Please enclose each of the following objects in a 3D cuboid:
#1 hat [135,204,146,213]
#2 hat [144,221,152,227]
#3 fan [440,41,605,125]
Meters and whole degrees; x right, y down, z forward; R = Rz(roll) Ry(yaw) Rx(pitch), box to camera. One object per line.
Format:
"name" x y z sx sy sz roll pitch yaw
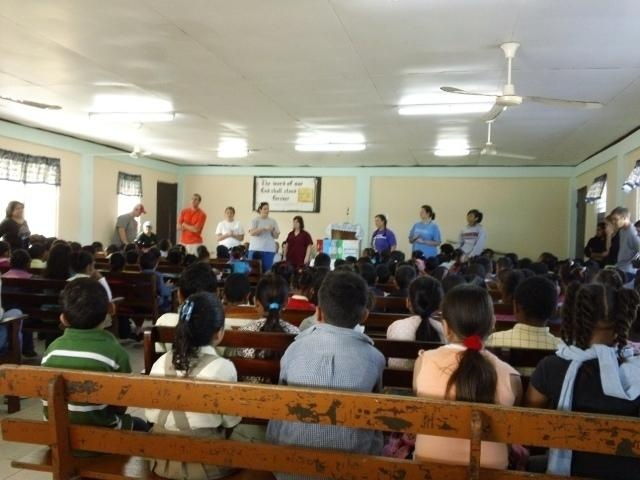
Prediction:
"hat" -3.776 -0.671 10.368 0.148 0.165 0.244 -34 32 -10
"hat" -3.814 -0.377 10.925 0.162 0.083 0.236 1 5 -11
"fan" 2.096 -1.551 5.323 0.945 0.414 1.029 6 3 9
